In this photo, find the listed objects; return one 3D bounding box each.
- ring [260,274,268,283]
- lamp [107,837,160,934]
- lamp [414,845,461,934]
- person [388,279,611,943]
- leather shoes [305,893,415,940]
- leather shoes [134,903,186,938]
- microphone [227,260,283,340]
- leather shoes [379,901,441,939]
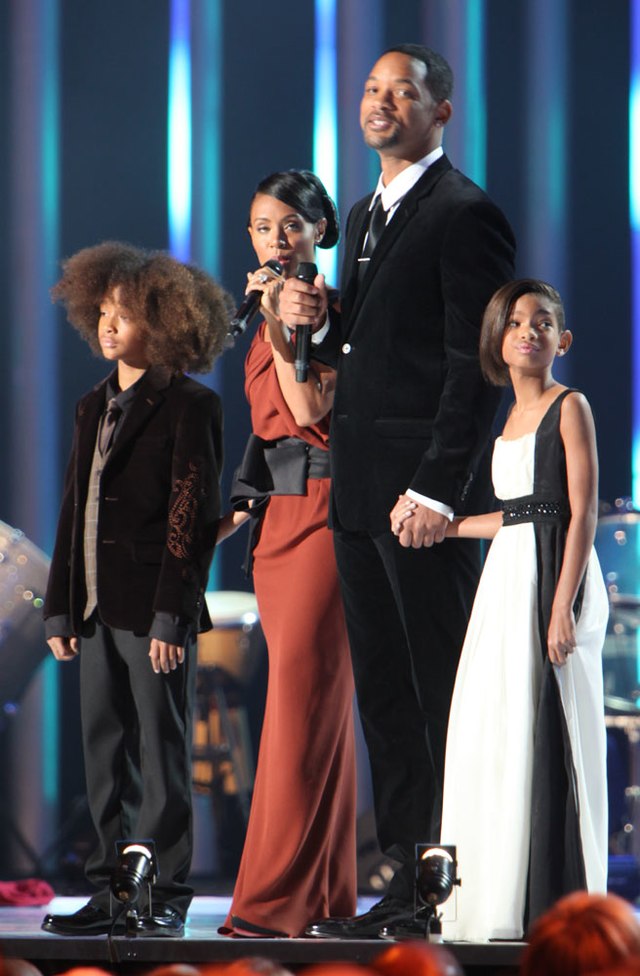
[{"bbox_3d":[-0.114,-0.416,3.073,0.015,0.018,0.007,-1,4,4],"label":"ring"},{"bbox_3d":[-0.323,0.732,2.873,0.118,0.127,0.193,4,-2,-6],"label":"lamp"},{"bbox_3d":[0.193,0.701,2.678,0.095,0.134,0.151,0,4,5],"label":"lamp"},{"bbox_3d":[0.371,0.214,2.851,0.298,1.210,0.287,0,-2,5],"label":"person"},{"bbox_3d":[0.086,0.808,2.894,0.224,0.079,0.071,-2,-16,11],"label":"leather shoes"},{"bbox_3d":[-0.317,0.846,3.020,0.122,0.033,0.106,2,5,4],"label":"leather shoes"},{"bbox_3d":[-0.139,-0.367,3.015,0.060,0.251,0.039,26,-39,2],"label":"microphone"},{"bbox_3d":[0.165,0.775,2.791,0.092,0.047,0.125,-6,-7,-39],"label":"leather shoes"}]
